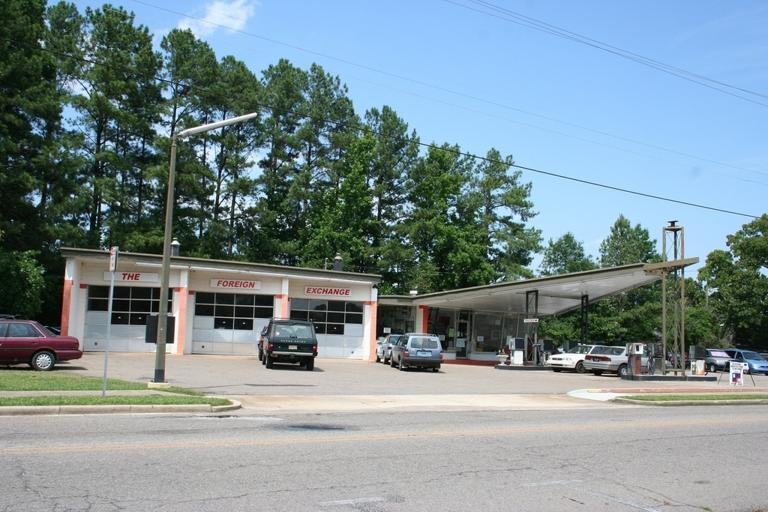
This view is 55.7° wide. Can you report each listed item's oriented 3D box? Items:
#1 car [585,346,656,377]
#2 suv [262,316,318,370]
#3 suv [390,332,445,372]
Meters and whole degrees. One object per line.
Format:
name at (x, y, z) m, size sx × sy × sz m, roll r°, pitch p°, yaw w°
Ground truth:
car at (13.254, 6.028, 42.220) m, size 3.863 × 1.773 × 2.395 m, roll -1°, pitch -9°, yaw 30°
suv at (-4.826, 4.110, 35.337) m, size 1.778 × 1.602 × 3.130 m, roll 2°, pitch -1°, yaw -15°
suv at (1.777, 5.245, 39.694) m, size 2.448 × 1.955 × 2.564 m, roll 4°, pitch -8°, yaw -1°
